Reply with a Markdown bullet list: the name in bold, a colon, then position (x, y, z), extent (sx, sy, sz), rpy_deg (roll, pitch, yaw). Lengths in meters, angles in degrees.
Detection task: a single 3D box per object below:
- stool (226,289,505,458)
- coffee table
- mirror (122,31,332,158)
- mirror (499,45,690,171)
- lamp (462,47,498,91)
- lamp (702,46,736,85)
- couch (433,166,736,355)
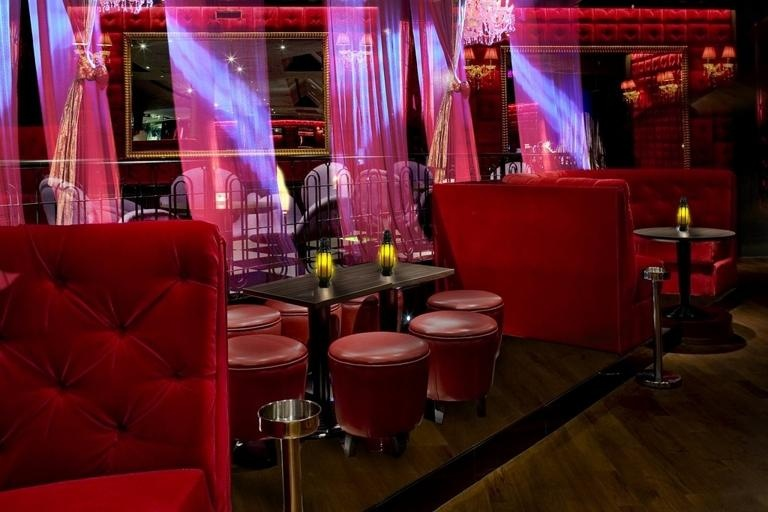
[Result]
- **stool**: position (0.170, 0.714, 3.507), extent (0.927, 0.622, 0.388), rpy_deg (-12, 12, -35)
- **coffee table**: position (2.575, 0.273, 5.247), extent (0.767, 0.944, 0.820), rpy_deg (-1, -8, 24)
- **mirror**: position (-2.195, -2.278, 8.742), extent (2.913, 1.890, 0.117), rpy_deg (-3, -8, -8)
- **mirror**: position (3.168, -2.172, 9.182), extent (2.555, 1.911, 0.110), rpy_deg (0, -10, 8)
- **lamp**: position (1.512, -2.947, 9.639), extent (0.607, 0.547, 0.211), rpy_deg (9, 18, 28)
- **lamp**: position (4.773, -2.724, 8.799), extent (0.421, 0.510, 0.312), rpy_deg (11, 14, 39)
- **couch**: position (1.585, -0.108, 5.264), extent (1.920, 1.241, 1.763), rpy_deg (-13, 14, -39)
